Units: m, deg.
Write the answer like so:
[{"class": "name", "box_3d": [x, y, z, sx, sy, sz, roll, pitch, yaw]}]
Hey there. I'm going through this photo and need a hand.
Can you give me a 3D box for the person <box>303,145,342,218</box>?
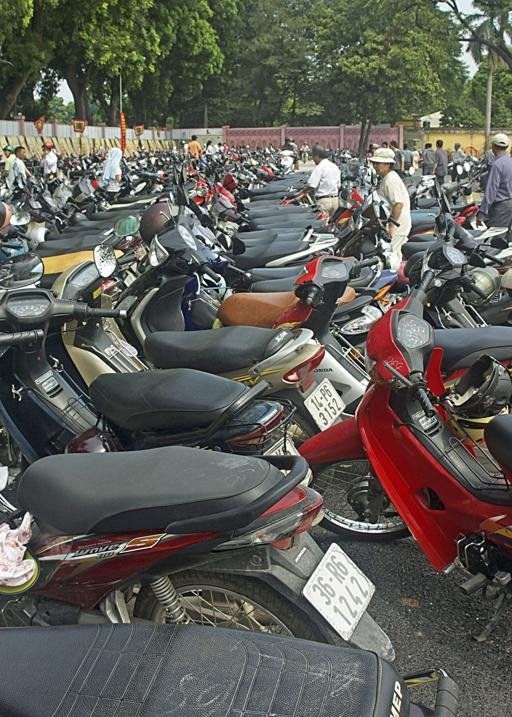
[{"class": "person", "box_3d": [1.382, -3.573, 11.133, 0.853, 1.190, 1.831, 1, 48, 1]}]
